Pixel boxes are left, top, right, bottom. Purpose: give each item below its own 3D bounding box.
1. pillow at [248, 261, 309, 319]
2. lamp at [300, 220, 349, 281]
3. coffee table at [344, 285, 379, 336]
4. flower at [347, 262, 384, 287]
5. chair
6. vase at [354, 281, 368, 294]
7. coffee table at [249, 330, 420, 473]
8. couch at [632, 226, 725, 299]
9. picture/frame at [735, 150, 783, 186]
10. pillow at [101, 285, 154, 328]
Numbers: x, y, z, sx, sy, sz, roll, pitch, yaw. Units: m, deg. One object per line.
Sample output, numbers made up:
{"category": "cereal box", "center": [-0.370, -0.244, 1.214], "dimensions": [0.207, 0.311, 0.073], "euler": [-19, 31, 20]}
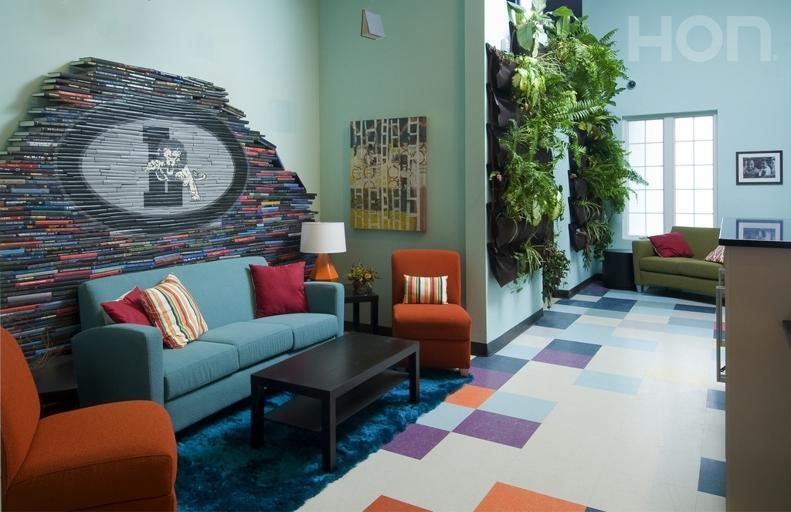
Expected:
{"category": "pillow", "center": [-1.168, 0.363, 4.847], "dimensions": [0.545, 0.498, 0.185], "euler": [-1, -14, -26]}
{"category": "lamp", "center": [-0.883, -0.048, 5.606], "dimensions": [0.621, 0.856, 0.604], "euler": [1, 1, -12]}
{"category": "coffee table", "center": [-0.341, 0.597, 5.430], "dimensions": [0.495, 0.478, 0.464], "euler": [-1, 5, -4]}
{"category": "flower", "center": [-0.362, 0.223, 5.437], "dimensions": [0.301, 0.279, 0.291], "euler": [1, -4, -11]}
{"category": "chair", "center": [0.382, 0.503, 5.287], "dimensions": [0.851, 1.203, 1.184], "euler": [1, -1, 0]}
{"category": "vase", "center": [-0.370, 0.342, 5.285], "dimensions": [0.150, 0.119, 0.068], "euler": [-1, 15, -2]}
{"category": "coffee table", "center": [-0.516, 0.944, 3.819], "dimensions": [0.748, 0.524, 1.411], "euler": [4, 8, 27]}
{"category": "couch", "center": [4.351, 0.120, 7.556], "dimensions": [0.857, 1.069, 1.308], "euler": [-13, 19, -39]}
{"category": "picture/frame", "center": [5.545, -1.343, 7.463], "dimensions": [0.569, 0.517, 0.041], "euler": [2, 2, 32]}
{"category": "pillow", "center": [-2.094, 0.420, 3.851], "dimensions": [0.091, 0.291, 0.313], "euler": [-34, -7, 24]}
